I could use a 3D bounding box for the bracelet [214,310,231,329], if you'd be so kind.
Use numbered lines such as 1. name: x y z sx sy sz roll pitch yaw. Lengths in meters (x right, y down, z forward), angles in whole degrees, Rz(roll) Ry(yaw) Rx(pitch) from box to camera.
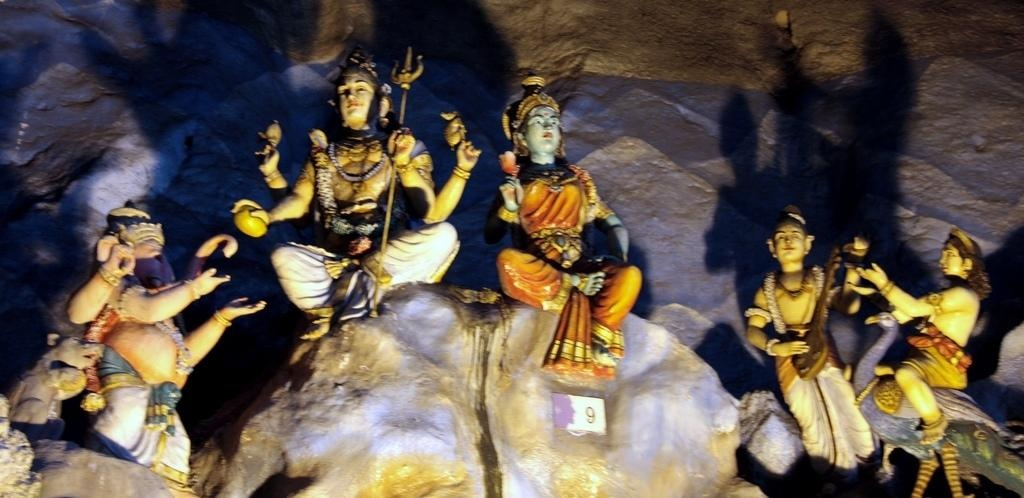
1. bracelet: -2.892 0.696 14.847 0.191 0.066 0.173 25 -10 43

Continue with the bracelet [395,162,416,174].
1. bracelet: -1.114 -0.843 15.551 0.159 0.040 0.121 7 28 3

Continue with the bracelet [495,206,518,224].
1. bracelet: -0.071 -0.356 15.701 0.240 0.125 0.202 21 8 -19

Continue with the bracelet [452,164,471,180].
1. bracelet: -0.565 -0.804 15.508 0.187 0.084 0.182 13 -9 44

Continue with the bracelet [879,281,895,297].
1. bracelet: 3.904 0.404 15.580 0.180 0.141 0.055 -19 50 -37

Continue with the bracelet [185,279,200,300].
1. bracelet: -3.146 0.406 14.738 0.079 0.157 0.171 -33 8 -12

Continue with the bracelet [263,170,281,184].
1. bracelet: -2.499 -0.753 15.522 0.224 0.093 0.238 -9 1 -8

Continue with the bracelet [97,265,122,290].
1. bracelet: -3.919 0.269 14.534 0.225 0.131 0.203 31 2 -15
